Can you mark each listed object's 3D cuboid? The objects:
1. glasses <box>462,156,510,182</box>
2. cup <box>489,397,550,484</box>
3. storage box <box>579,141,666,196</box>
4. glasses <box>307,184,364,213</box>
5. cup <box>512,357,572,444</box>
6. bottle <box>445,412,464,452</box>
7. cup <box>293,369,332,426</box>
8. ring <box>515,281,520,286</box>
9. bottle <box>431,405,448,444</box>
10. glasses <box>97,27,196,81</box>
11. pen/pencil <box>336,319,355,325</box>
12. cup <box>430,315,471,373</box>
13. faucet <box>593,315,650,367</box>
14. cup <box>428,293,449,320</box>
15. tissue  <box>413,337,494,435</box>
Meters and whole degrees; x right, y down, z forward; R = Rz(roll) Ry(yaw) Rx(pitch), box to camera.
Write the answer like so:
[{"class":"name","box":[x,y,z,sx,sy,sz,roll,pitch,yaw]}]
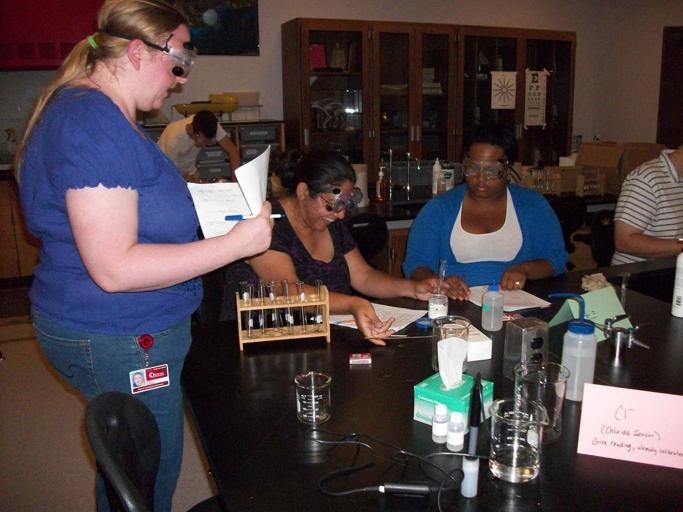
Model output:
[{"class":"glasses","box":[0.683,-0.414,2.574,0.193,0.098,0.083,-1,13,11]},{"class":"cup","box":[0.415,0.436,1.268,0.127,0.150,0.106,11,18,32]},{"class":"storage box","box":[2.331,-0.842,4.572,0.573,0.386,0.563,-11,21,-25]},{"class":"glasses","box":[0.002,-0.231,2.160,0.117,0.059,0.145,-2,13,-37]},{"class":"cup","box":[0.509,0.363,1.368,0.204,0.202,0.131,-1,8,1]},{"class":"bottle","box":[0.280,0.419,1.314,0.051,0.099,0.043,-4,12,-2]},{"class":"cup","box":[-0.059,0.374,1.472,0.112,0.119,0.111,0,15,0]},{"class":"ring","box":[0.740,0.114,2.275,0.017,0.013,0.017,-1,14,0]},{"class":"bottle","box":[0.245,0.408,1.338,0.042,0.104,0.043,-3,12,1]},{"class":"glasses","box":[-0.497,-0.516,1.434,0.130,0.048,0.124,24,2,-6]},{"class":"pen/pencil","box":[0.016,0.236,1.945,0.023,0.010,0.060,18,12,34]},{"class":"cup","box":[0.311,0.248,1.622,0.151,0.162,0.139,1,8,0]},{"class":"faucet","box":[0.896,0.254,1.733,0.149,0.071,0.165,-5,11,-12]},{"class":"cup","box":[0.348,0.176,1.950,0.082,0.096,0.084,0,5,0]},{"class":"tissue ","box":[0.305,0.338,1.429,0.215,0.135,0.220,8,17,38]}]
